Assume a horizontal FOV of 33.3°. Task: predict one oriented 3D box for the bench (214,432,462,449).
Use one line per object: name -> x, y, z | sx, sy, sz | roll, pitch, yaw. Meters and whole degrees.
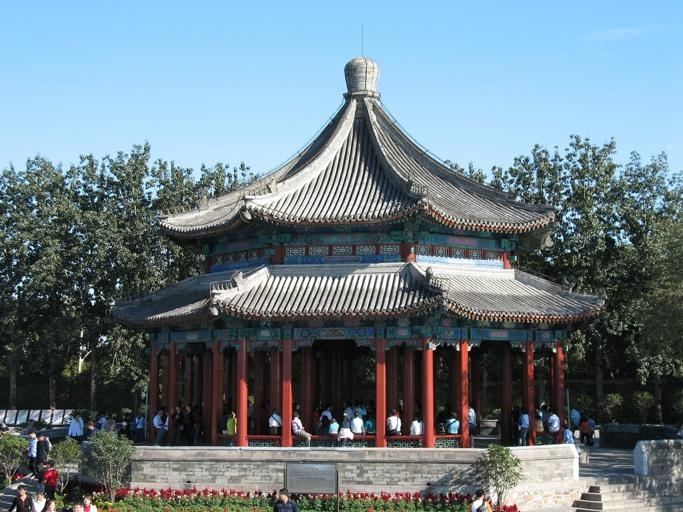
bench -> 0.100, 8.415, 51.978 | 10.647, 0.934, 1.261 | -3, -12, 4
